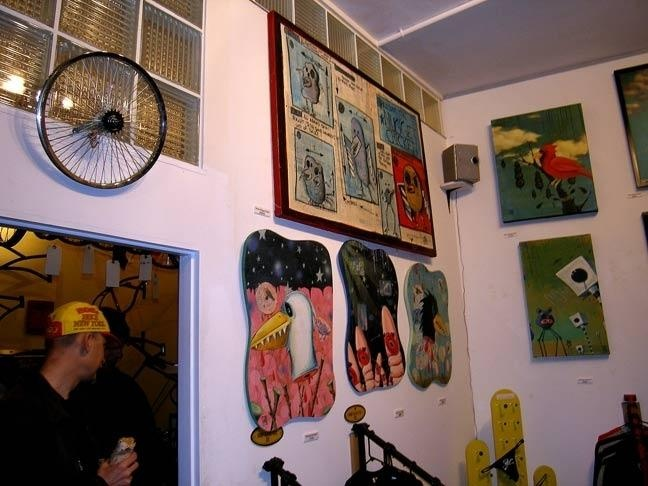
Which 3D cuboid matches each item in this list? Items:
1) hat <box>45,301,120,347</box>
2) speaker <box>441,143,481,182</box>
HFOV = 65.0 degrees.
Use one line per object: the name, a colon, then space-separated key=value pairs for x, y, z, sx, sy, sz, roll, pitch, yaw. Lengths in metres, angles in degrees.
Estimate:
hat: x=-1.547 y=0.514 z=3.218 sx=0.201 sy=0.179 sz=0.295 roll=-2 pitch=-6 yaw=38
speaker: x=1.538 y=-0.878 z=5.908 sx=0.441 sy=0.551 sz=0.370 roll=1 pitch=-1 yaw=-4
